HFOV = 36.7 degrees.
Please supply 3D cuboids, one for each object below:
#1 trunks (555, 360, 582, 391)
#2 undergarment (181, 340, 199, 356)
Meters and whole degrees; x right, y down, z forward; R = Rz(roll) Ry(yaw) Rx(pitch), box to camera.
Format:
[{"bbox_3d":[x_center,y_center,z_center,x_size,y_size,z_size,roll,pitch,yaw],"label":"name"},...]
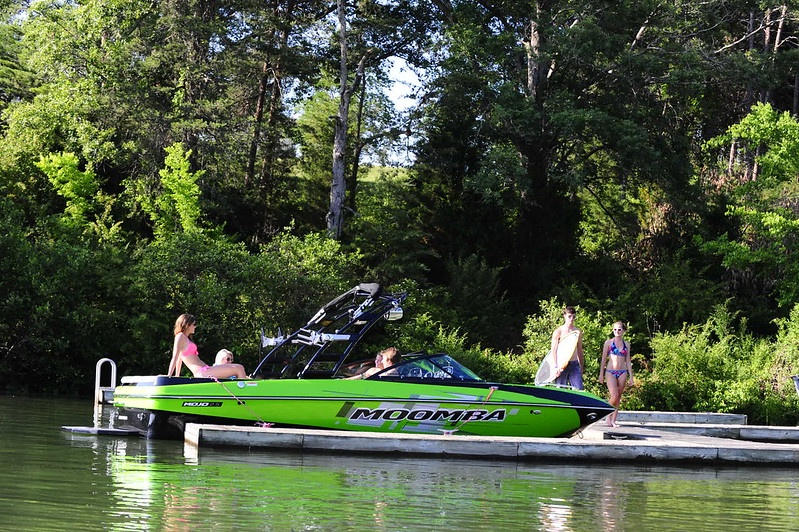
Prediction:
[{"bbox_3d":[5.055,3.215,35.818,0.796,0.976,0.356,5,-11,4],"label":"trunks"},{"bbox_3d":[-6.069,2.397,35.137,0.399,0.664,0.523,-7,-2,3],"label":"undergarment"}]
